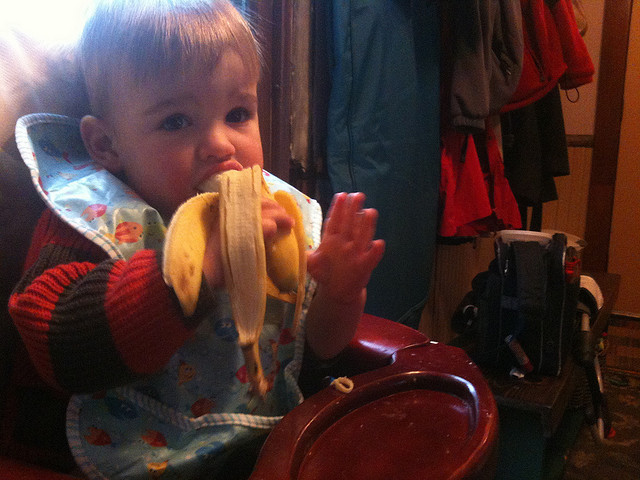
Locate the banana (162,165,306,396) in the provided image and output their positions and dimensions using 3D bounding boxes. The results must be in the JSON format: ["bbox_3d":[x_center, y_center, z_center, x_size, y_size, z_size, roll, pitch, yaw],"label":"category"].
[{"bbox_3d":[-0.109,0.035,0.816,0.214,0.346,0.085,-2,-6,-27],"label":"banana"}]

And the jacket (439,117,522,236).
[{"bbox_3d":[0.539,-0.191,1.950,0.169,0.437,0.269,7,10,36],"label":"jacket"}]

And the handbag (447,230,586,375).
[{"bbox_3d":[0.659,0.176,1.752,0.282,0.370,0.339,4,-11,7],"label":"handbag"}]

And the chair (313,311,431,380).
[{"bbox_3d":[0.098,0.208,1.084,0.158,0.199,0.141,7,-11,-21],"label":"chair"}]

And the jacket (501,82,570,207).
[{"bbox_3d":[0.923,-0.435,2.246,0.186,0.551,0.117,-13,20,-30],"label":"jacket"}]
